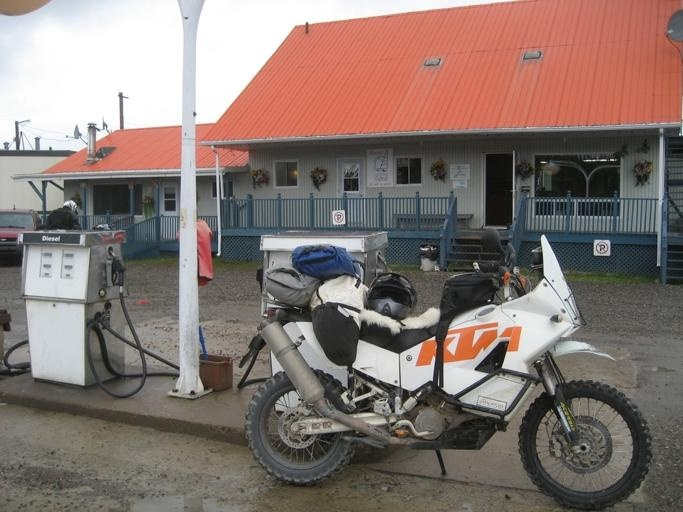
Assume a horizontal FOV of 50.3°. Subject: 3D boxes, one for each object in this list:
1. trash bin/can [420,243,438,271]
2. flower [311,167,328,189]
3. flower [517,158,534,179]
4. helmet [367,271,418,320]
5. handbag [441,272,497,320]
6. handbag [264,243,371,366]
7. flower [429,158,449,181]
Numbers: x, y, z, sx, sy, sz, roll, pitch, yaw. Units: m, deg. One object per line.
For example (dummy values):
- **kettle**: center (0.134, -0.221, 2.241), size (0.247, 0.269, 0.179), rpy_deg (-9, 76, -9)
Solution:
- **trash bin/can**: center (2.209, 0.052, 18.426), size (0.547, 0.839, 0.571), rpy_deg (0, -3, 8)
- **flower**: center (-0.729, -2.447, 22.741), size (0.517, 0.654, 0.262), rpy_deg (4, 3, 24)
- **flower**: center (5.087, -2.409, 20.255), size (0.475, 0.528, 0.283), rpy_deg (2, 11, 12)
- **helmet**: center (0.449, 0.395, 6.714), size (0.396, 0.449, 0.550), rpy_deg (9, -15, 13)
- **handbag**: center (1.094, 0.339, 6.277), size (0.487, 0.391, 0.156), rpy_deg (0, 11, 3)
- **handbag**: center (-0.149, 0.408, 6.496), size (0.871, 1.071, 0.388), rpy_deg (-1, -10, -18)
- **flower**: center (2.823, -2.508, 21.206), size (0.516, 0.707, 0.545), rpy_deg (0, 1, -11)
